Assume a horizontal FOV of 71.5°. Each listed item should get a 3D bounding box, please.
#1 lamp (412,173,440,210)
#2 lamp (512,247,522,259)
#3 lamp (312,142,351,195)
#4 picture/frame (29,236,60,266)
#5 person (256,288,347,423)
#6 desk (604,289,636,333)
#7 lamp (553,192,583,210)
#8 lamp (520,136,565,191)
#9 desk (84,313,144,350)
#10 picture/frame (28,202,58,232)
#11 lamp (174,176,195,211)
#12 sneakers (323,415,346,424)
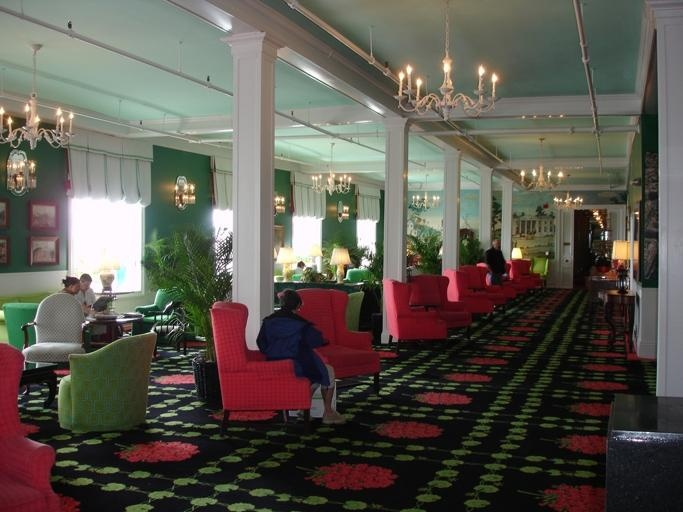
[{"bbox_3d":[3.466,-2.707,20.445,1.409,1.768,1.389,3,0,13],"label":"lamp"},{"bbox_3d":[6.801,-0.106,18.476,0.420,0.371,0.404,-9,12,-30],"label":"lamp"},{"bbox_3d":[-0.299,-2.925,16.493,1.463,1.775,1.428,-5,10,-44],"label":"lamp"},{"bbox_3d":[-5.962,-0.111,9.476,0.047,0.558,0.607,2,3,33],"label":"picture/frame"},{"bbox_3d":[-0.377,0.980,4.527,0.827,1.304,0.362,-1,1,-11],"label":"person"},{"bbox_3d":[5.015,0.991,8.558,0.524,0.647,0.959,0,3,23],"label":"desk"},{"bbox_3d":[8.649,-2.101,18.119,1.117,0.656,1.087,3,-3,-42],"label":"lamp"},{"bbox_3d":[5.950,-2.786,14.086,1.261,1.541,1.271,4,6,31],"label":"lamp"},{"bbox_3d":[-3.950,1.244,8.122,1.085,0.631,1.044,0,-1,-2],"label":"desk"},{"bbox_3d":[-5.980,-0.790,9.477,0.050,0.526,0.647,4,3,31],"label":"picture/frame"},{"bbox_3d":[-4.028,-1.638,12.310,0.232,0.868,0.574,1,2,41],"label":"lamp"},{"bbox_3d":[-0.067,1.585,4.682,0.219,0.088,0.088,0,1,-8],"label":"sneakers"}]
